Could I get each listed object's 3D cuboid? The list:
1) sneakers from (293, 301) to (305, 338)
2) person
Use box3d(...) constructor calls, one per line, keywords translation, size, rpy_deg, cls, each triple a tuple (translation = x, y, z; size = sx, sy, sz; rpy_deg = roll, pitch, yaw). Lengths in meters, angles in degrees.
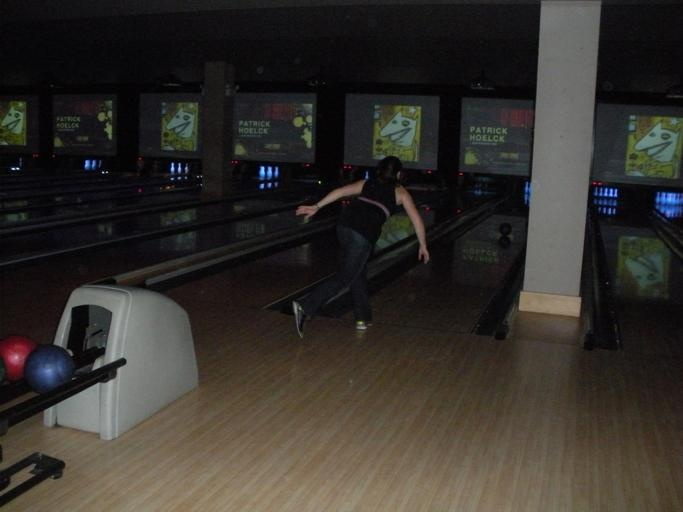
box3d(translation=(-0.220, 0.333, 2.677), size=(0.081, 0.209, 0.062), rpy_deg=(5, -15, -17), cls="sneakers")
box3d(translation=(0.098, -0.071, 2.803), size=(0.734, 0.977, 0.526), rpy_deg=(0, 14, -9), cls="person")
